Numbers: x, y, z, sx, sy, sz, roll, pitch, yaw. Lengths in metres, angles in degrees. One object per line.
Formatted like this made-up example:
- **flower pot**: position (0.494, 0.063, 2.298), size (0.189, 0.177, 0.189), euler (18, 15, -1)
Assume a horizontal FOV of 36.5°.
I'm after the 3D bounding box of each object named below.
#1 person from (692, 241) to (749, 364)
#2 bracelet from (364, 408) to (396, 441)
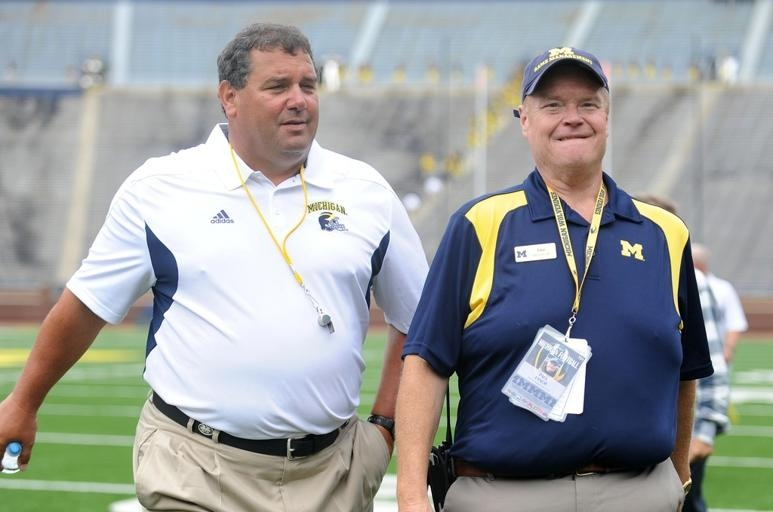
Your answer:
- **person**: position (4.480, 0.618, 15.570), size (0.474, 0.897, 2.019), euler (-7, -12, 25)
- **bracelet**: position (-0.063, 1.429, 9.999), size (0.196, 0.086, 0.220), euler (39, -6, -33)
